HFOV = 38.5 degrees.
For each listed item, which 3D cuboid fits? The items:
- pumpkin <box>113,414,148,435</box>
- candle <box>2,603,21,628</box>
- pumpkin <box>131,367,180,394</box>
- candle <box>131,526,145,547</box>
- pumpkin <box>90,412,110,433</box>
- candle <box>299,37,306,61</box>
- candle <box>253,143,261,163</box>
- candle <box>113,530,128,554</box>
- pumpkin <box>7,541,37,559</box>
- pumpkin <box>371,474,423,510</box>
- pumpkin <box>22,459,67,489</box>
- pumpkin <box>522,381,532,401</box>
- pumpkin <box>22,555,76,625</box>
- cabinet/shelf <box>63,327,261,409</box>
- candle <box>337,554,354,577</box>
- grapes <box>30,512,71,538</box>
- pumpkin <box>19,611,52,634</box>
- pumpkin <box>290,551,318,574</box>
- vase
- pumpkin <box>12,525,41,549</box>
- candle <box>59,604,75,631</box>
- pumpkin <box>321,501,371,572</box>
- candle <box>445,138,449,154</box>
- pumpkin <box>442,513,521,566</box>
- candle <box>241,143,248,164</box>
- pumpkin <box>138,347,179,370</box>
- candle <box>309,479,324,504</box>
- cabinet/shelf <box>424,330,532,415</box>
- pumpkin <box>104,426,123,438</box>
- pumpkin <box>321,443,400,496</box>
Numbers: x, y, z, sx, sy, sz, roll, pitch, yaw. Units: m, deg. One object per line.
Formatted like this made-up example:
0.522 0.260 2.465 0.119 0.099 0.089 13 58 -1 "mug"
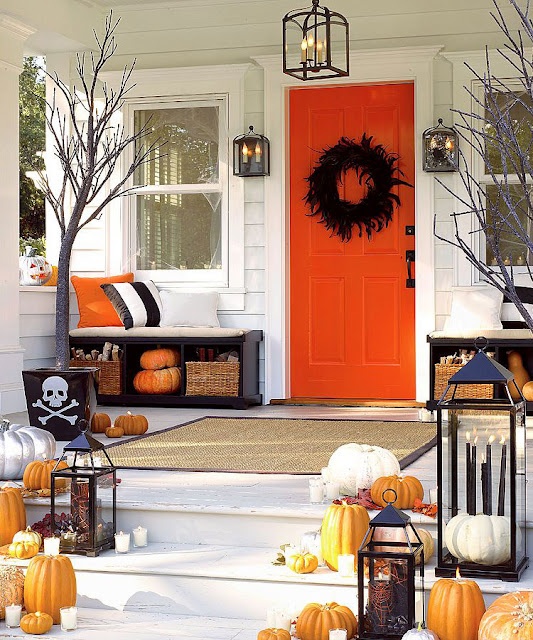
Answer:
-0.759 0.563 4.186 0.127 0.109 0.131 2 -4 -11 "pumpkin"
-0.704 0.807 2.104 0.049 0.060 0.051 1 -1 -5 "candle"
-0.794 0.438 5.467 0.210 0.122 0.221 2 -4 -35 "pumpkin"
-0.415 0.696 2.477 0.053 0.065 0.055 0 2 -6 "candle"
-0.928 0.553 4.213 0.116 0.117 0.122 -2 6 -14 "pumpkin"
0.186 -1.367 3.868 0.028 0.137 0.056 0 0 -2 "candle"
-0.072 -1.257 5.741 0.048 0.140 0.023 0 0 -1 "candle"
-0.459 0.700 2.423 0.056 0.070 0.059 1 -2 0 "candle"
-0.768 0.702 2.395 0.062 0.040 0.065 -3 -5 38 "pumpkin"
0.400 0.543 2.355 0.167 0.099 0.227 0 -1 7 "pumpkin"
-0.832 0.561 2.775 0.117 0.103 0.226 0 -1 -17 "pumpkin"
1.653 0.457 4.835 0.043 0.085 0.214 0 -1 24 "pumpkin"
-0.612 0.731 2.154 0.149 0.208 0.167 2 -2 22 "pumpkin"
-0.695 0.322 5.462 1.357 0.586 0.487 -1 3 18 "cabinet/shelf"
0.218 0.673 2.102 0.048 0.058 0.052 0 -1 4 "candle"
-0.700 0.647 2.485 0.093 0.047 0.126 2 -3 -8 "grapes"
-0.633 0.810 2.047 0.054 0.041 0.056 1 -3 0 "pumpkin"
0.111 0.669 2.145 0.056 0.056 0.058 1 -2 -14 "pumpkin"
-0.978 0.383 3.929 0.440 0.571 0.402 0 -3 2 "vase"
-0.769 0.690 2.432 0.077 0.084 0.081 3 -7 0 "pumpkin"
-0.533 0.803 2.076 0.044 0.060 0.057 0 -3 -3 "candle"
0.218 0.612 2.169 0.134 0.177 0.073 0 0 4 "pumpkin"
1.277 -1.230 5.380 0.039 0.062 0.032 0 0 13 "candle"
0.574 0.582 2.050 0.189 0.131 0.186 3 -8 -42 "pumpkin"
-0.170 -1.255 5.758 0.056 0.143 0.026 0 0 31 "candle"
-0.799 0.282 5.580 0.174 0.138 0.181 -2 -6 1 "pumpkin"
0.157 0.550 2.465 0.041 0.073 0.069 0 -1 4 "candle"
1.039 0.233 3.686 0.521 0.396 0.280 0 -1 11 "cabinet/shelf"
-0.815 0.586 4.064 0.062 0.045 0.063 -4 -5 43 "pumpkin"
0.302 0.479 2.607 0.229 0.197 0.211 1 3 -22 "pumpkin"
